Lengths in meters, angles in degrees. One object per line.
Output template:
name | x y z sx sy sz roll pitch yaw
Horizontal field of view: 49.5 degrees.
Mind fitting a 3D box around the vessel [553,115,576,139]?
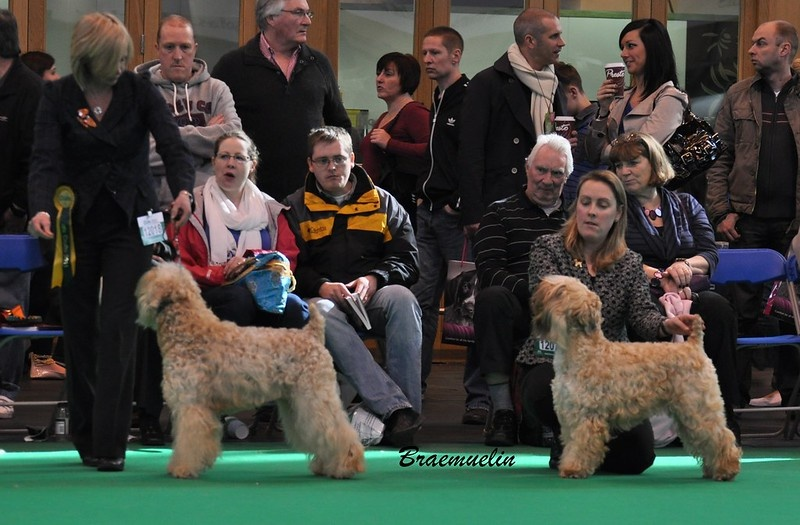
vessel | 1.157 -0.943 6.135 0.179 0.168 0.166 1 0 8

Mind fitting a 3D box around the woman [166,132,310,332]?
woman | -0.949 -0.099 5.383 0.821 1.338 0.738 10 14 32

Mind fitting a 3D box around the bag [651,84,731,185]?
bag | 1.994 -0.917 5.947 0.465 0.260 0.459 36 -28 -6

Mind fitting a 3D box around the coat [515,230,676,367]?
coat | 1.169 0.244 5.017 0.667 0.813 0.793 7 -8 -10

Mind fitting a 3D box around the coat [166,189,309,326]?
coat | -0.982 0.034 5.487 0.802 1.061 0.852 4 9 40

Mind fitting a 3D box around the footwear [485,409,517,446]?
footwear | 0.627 1.001 5.273 0.228 0.222 0.163 -1 -3 -9

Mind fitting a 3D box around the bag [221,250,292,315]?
bag | -0.823 0.127 5.022 0.349 0.345 0.149 32 3 11

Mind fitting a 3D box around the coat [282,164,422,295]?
coat | -0.385 -0.173 5.689 1.021 0.798 0.551 -1 16 19

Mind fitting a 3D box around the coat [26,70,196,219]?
coat | -1.632 -0.599 4.972 0.932 1.170 0.797 -2 0 -26

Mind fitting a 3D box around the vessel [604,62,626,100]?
vessel | 1.500 -1.266 6.072 0.171 0.219 0.169 -2 6 20

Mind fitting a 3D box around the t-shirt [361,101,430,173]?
t-shirt | -0.070 -0.978 7.515 0.478 0.813 0.833 2 1 -19

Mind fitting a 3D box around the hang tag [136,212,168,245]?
hang tag | -1.357 -0.183 4.690 0.186 0.205 0.026 -11 -6 -36

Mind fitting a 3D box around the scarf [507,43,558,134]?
scarf | 0.998 -1.269 6.381 0.411 0.569 0.215 -1 12 22

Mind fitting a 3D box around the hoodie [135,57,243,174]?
hoodie | -1.399 -1.041 6.018 0.670 0.865 0.340 -4 -12 -25
